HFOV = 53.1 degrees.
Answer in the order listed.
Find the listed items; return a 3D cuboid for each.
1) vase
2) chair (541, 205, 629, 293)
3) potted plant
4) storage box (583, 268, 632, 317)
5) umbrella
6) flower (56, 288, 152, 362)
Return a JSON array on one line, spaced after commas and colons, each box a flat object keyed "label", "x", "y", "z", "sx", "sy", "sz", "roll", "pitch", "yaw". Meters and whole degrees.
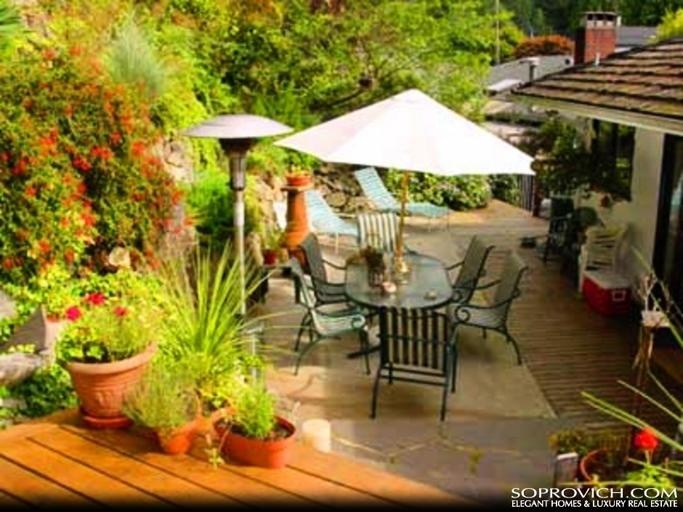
[{"label": "vase", "x": -1.929, "y": 1.141, "z": 5.770, "sx": 0.654, "sy": 0.556, "sz": 0.701, "roll": -2, "pitch": -2, "yaw": 5}, {"label": "chair", "x": 3.561, "y": -0.176, "z": 9.991, "sx": 0.653, "sy": 0.598, "sz": 1.174, "roll": -2, "pitch": 21, "yaw": -13}, {"label": "potted plant", "x": -1.031, "y": 0.795, "z": 5.306, "sx": 1.419, "sy": 1.473, "sz": 0.935, "roll": 8, "pitch": 24, "yaw": 22}, {"label": "storage box", "x": 3.595, "y": 0.467, "z": 9.173, "sx": 0.349, "sy": 0.480, "sz": 0.664, "roll": 1, "pitch": 9, "yaw": -1}, {"label": "umbrella", "x": 0.691, "y": -0.870, "z": 7.192, "sx": 1.518, "sy": 1.163, "sz": 1.535, "roll": -9, "pitch": 19, "yaw": -31}, {"label": "flower", "x": -2.069, "y": 0.627, "z": 5.949, "sx": 0.629, "sy": 0.470, "sz": 0.708, "roll": -6, "pitch": 12, "yaw": -42}]
